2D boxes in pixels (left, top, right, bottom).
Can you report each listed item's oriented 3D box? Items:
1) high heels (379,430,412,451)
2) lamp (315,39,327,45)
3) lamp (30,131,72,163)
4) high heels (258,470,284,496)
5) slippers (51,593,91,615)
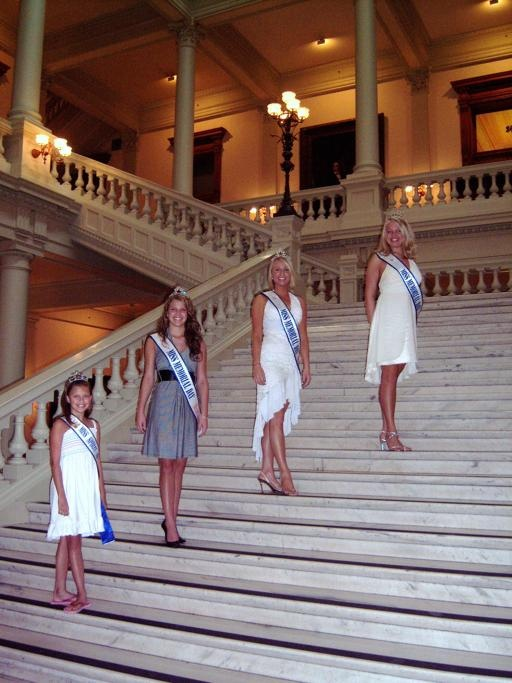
[{"bbox_3d":[0.846,0.616,3.528,0.209,0.124,0.137,-5,10,27],"label":"high heels"},{"bbox_3d":[1.565,-7.174,13.873,0.109,0.092,0.145,-1,9,-16],"label":"lamp"},{"bbox_3d":[-3.461,-3.246,9.640,0.516,0.402,0.695,-5,3,15],"label":"lamp"},{"bbox_3d":[0.090,0.795,3.237,0.084,0.131,0.144,-18,12,-38],"label":"high heels"},{"bbox_3d":[-0.784,1.105,2.438,0.068,0.043,0.166,8,-19,-37],"label":"slippers"}]
